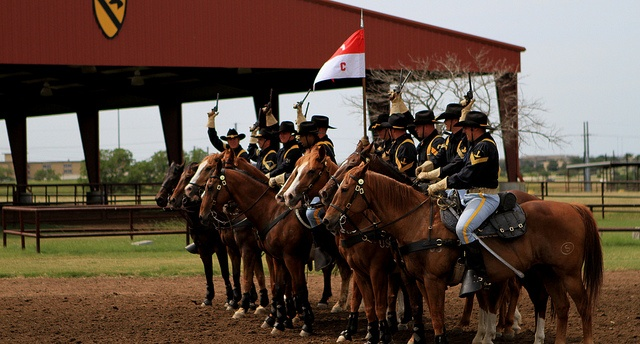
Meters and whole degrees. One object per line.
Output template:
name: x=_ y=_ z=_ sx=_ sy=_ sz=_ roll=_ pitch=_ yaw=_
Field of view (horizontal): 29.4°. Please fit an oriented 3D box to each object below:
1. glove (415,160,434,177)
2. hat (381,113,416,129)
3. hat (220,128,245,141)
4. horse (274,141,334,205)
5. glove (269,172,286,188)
glove: x=4.717 y=-0.205 z=55.114 sx=0.754 sy=0.323 sz=0.565 roll=-33 pitch=4 yaw=5
hat: x=3.692 y=-2.292 z=55.996 sx=0.993 sy=0.384 sz=0.850 roll=5 pitch=-4 yaw=-27
hat: x=-4.277 y=-1.808 z=59.101 sx=1.009 sy=0.469 sz=0.548 roll=-3 pitch=-1 yaw=6
horse: x=-0.635 y=0.122 z=55.551 sx=2.691 sy=0.877 sz=1.428 roll=-41 pitch=-38 yaw=-17
glove: x=-1.963 y=0.409 z=56.520 sx=0.694 sy=0.540 sz=0.356 roll=-35 pitch=-14 yaw=0
